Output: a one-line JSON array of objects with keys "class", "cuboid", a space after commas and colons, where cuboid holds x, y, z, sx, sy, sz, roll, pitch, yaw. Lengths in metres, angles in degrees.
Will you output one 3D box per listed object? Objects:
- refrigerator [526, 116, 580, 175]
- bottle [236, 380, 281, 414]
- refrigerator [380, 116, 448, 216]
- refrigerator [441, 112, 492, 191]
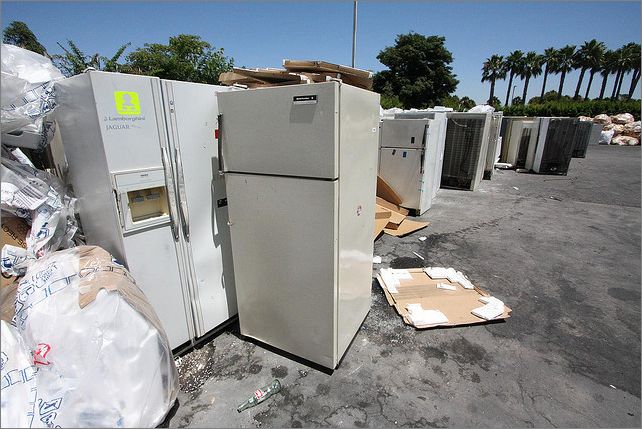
[{"class": "refrigerator", "cuboid": [8.988, -2.378, 12.265, 1.368, 1.947, 1.600, 18, 8, 35]}, {"class": "bottle", "cuboid": [-0.634, 1.943, 3.489, 0.615, 0.163, 0.165, -37, 49, 6]}, {"class": "refrigerator", "cuboid": [2.073, -1.155, 7.637, 1.486, 2.242, 1.041, 0, 20, 1]}, {"class": "refrigerator", "cuboid": [4.088, -1.747, 9.494, 1.092, 2.240, 1.059, 8, 22, 21]}]
